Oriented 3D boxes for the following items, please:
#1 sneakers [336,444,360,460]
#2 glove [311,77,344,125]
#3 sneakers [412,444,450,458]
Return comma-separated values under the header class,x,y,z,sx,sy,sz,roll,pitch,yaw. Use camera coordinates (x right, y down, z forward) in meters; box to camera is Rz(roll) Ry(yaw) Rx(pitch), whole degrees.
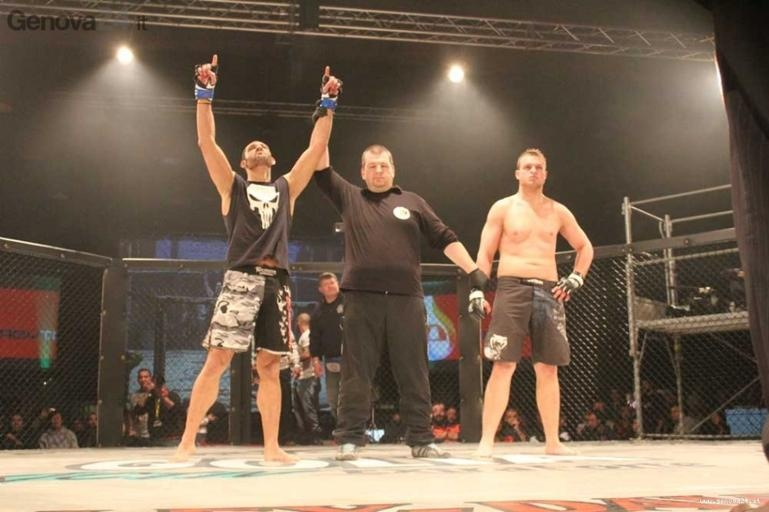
class,x,y,z,sx,sy,sz,roll,pitch,yaw
sneakers,-0.312,1.673,7.016,0.132,0.094,0.234,0,-9,-4
glove,-0.467,-1.384,7.418,0.184,0.290,0.447,3,-29,-36
sneakers,0.405,1.700,7.159,0.336,0.126,0.121,-3,-15,13
